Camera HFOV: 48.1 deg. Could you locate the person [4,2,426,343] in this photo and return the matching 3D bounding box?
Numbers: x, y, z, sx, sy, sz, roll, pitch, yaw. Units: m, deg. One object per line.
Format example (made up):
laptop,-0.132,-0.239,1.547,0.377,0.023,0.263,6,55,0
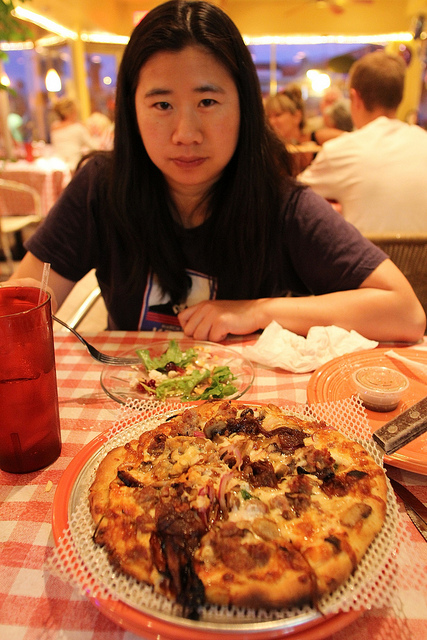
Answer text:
person,0.013,-0.433,1.761,1.496,1.264,0.746,12,26,23
